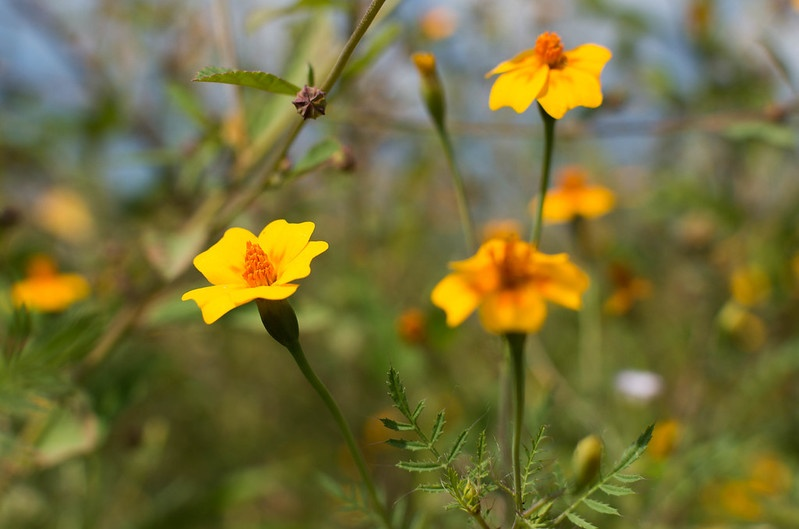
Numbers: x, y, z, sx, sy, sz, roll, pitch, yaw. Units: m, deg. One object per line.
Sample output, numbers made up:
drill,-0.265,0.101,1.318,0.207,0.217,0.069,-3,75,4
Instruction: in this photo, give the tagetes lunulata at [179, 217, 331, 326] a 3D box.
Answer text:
tagetes lunulata,-0.165,0.001,0.979,0.132,0.070,0.128,-45,36,-16

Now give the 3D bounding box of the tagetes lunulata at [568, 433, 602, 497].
tagetes lunulata,0.210,0.219,0.951,0.033,0.020,0.064,31,82,-22

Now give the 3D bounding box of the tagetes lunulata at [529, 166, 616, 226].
tagetes lunulata,0.265,-0.114,1.342,0.137,0.066,0.100,-3,60,-3

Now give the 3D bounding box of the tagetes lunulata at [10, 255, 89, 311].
tagetes lunulata,-0.459,0.034,1.121,0.080,0.033,0.080,22,63,11
